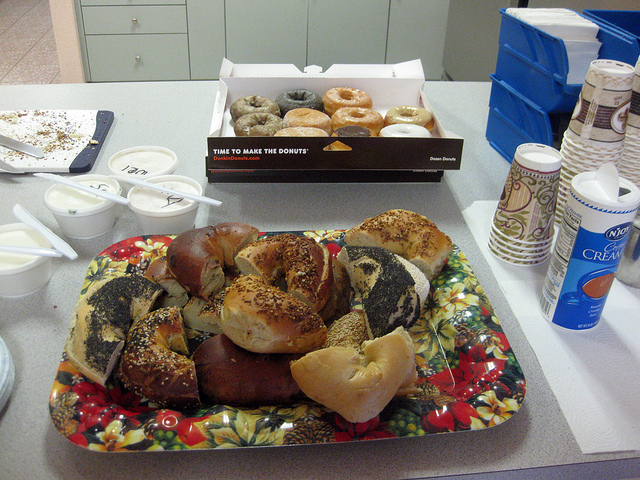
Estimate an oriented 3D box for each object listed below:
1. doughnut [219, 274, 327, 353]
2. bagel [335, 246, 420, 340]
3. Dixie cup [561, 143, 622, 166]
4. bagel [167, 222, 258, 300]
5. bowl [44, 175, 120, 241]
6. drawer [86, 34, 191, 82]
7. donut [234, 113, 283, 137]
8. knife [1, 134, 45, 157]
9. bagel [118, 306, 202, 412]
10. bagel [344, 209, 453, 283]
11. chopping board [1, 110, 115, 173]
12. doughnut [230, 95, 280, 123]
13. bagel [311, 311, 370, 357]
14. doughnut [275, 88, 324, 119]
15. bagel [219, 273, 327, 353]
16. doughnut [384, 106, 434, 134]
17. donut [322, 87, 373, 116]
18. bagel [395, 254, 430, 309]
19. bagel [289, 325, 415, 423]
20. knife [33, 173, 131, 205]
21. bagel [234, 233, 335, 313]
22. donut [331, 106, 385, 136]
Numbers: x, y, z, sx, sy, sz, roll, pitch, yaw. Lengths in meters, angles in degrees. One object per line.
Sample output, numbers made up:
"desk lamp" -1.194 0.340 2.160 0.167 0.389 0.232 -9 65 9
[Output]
"doughnut" -0.097 0.149 1.003 0.188 0.062 0.133 32 41 21
"bagel" 0.113 0.092 1.123 0.191 0.161 0.182 -5 26 -6
"Dixie cup" 0.650 -0.201 1.280 0.083 0.029 0.073 3 39 8
"bagel" -0.260 0.020 1.205 0.165 0.086 0.258 18 32 15
"bowl" -0.628 -0.054 1.347 0.091 0.141 0.143 3 36 9
"drawer" -1.194 -1.197 3.500 0.665 0.296 0.079 -4 41 -5
"donut" -0.185 -0.338 1.566 0.112 0.040 0.107 -7 30 -10
"knife" -0.892 -0.277 1.587 0.161 0.012 0.022 25 67 22
"bagel" -0.314 0.220 1.026 0.153 0.073 0.226 -3 37 -23
"bagel" 0.202 -0.006 1.324 0.242 0.154 0.222 12 28 25
"chopping board" -0.855 -0.307 1.641 0.351 0.041 0.359 -3 39 -4
"doughnut" -0.203 -0.423 1.667 0.111 0.042 0.106 16 38 19
"bagel" 0.057 0.175 1.094 0.110 0.063 0.119 16 24 22
"doughnut" -0.070 -0.457 1.740 0.120 0.045 0.117 -4 31 -8
"bagel" -0.096 0.148 1.002 0.188 0.062 0.133 36 47 25
"doughnut" 0.274 -0.377 1.628 0.106 0.042 0.107 22 41 37
"donut" 0.065 -0.450 1.786 0.162 0.159 0.051 -8 75 1
"bagel" 0.207 0.084 1.143 0.067 0.096 0.073 23 33 39
"bagel" 0.061 0.236 1.000 0.220 0.081 0.229 18 27 22
"knife" -0.587 -0.131 1.333 0.266 0.052 0.052 13 42 15
"bagel" -0.056 0.050 1.152 0.222 0.067 0.144 28 54 21
"donut" 0.111 -0.366 1.705 0.205 0.071 0.199 -1 -4 -12
